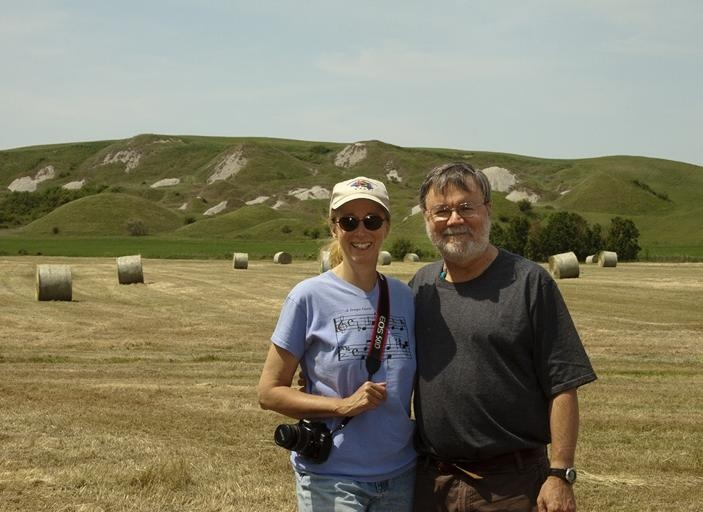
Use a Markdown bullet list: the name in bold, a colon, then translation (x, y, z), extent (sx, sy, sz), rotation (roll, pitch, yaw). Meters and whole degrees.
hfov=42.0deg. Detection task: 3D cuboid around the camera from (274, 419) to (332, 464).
- **camera**: translation (-0.580, 2.230, 11.281), extent (0.672, 0.404, 0.692), rotation (11, -7, 38)
